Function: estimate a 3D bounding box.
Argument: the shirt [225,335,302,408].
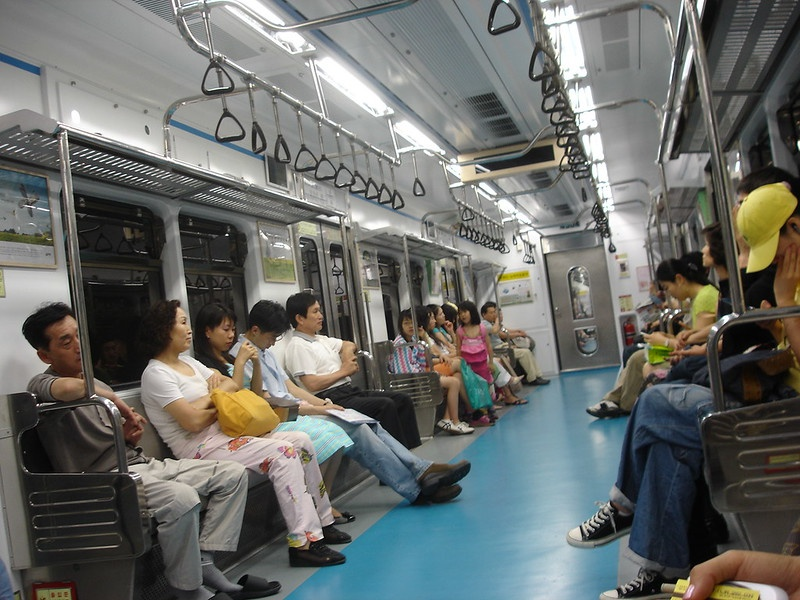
[{"bbox_3d":[-1.109,0.541,4.375,0.367,0.552,0.321,-7,11,-21],"label":"shirt"}]

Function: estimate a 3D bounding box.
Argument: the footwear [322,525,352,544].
[{"bbox_3d":[-0.455,1.695,3.755,0.247,0.103,0.092,0,4,10],"label":"footwear"}]

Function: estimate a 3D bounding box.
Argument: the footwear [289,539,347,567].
[{"bbox_3d":[-0.535,1.659,3.444,0.393,0.186,0.150,-1,-2,1],"label":"footwear"}]

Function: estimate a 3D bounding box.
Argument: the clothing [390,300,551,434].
[{"bbox_3d":[0.720,1.133,8.646,1.985,2.710,1.883,-10,-6,26],"label":"clothing"}]

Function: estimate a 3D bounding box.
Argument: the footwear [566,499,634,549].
[{"bbox_3d":[1.108,1.233,2.869,0.443,0.192,0.158,-6,5,-14],"label":"footwear"}]

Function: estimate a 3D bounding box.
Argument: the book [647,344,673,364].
[{"bbox_3d":[2.574,0.542,5.197,0.309,0.179,0.175,3,0,36],"label":"book"}]

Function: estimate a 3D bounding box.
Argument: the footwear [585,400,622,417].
[{"bbox_3d":[2.669,1.465,6.950,0.537,0.259,0.196,2,-3,4],"label":"footwear"}]

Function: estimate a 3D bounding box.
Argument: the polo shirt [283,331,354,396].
[{"bbox_3d":[-0.796,0.594,5.238,0.516,0.641,0.950,-19,-4,14],"label":"polo shirt"}]

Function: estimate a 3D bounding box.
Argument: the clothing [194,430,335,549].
[{"bbox_3d":[-0.879,1.266,3.718,0.709,0.884,0.702,-5,-18,7],"label":"clothing"}]

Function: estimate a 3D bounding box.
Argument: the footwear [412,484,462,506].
[{"bbox_3d":[0.287,1.624,4.306,0.303,0.102,0.124,-16,32,-8],"label":"footwear"}]

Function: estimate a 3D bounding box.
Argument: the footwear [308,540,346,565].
[{"bbox_3d":[-0.477,1.661,3.413,0.257,0.108,0.105,-2,1,13],"label":"footwear"}]

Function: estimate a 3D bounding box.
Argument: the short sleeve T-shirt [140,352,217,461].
[{"bbox_3d":[-1.472,0.743,3.460,0.393,0.634,0.682,-12,-3,6],"label":"short sleeve T-shirt"}]

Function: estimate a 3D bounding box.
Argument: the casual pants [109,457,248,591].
[{"bbox_3d":[-1.196,1.256,2.989,0.445,0.738,0.652,-12,-5,44],"label":"casual pants"}]

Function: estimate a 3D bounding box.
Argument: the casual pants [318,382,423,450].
[{"bbox_3d":[-0.333,1.090,5.279,1.110,0.747,0.663,-6,-12,9],"label":"casual pants"}]

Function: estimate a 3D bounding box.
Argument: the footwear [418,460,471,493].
[{"bbox_3d":[0.357,1.487,4.328,0.442,0.148,0.200,-22,20,-13],"label":"footwear"}]

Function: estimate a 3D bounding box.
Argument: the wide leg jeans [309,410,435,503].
[{"bbox_3d":[-0.384,1.151,4.796,0.493,0.697,1.221,3,-3,-30],"label":"wide leg jeans"}]
